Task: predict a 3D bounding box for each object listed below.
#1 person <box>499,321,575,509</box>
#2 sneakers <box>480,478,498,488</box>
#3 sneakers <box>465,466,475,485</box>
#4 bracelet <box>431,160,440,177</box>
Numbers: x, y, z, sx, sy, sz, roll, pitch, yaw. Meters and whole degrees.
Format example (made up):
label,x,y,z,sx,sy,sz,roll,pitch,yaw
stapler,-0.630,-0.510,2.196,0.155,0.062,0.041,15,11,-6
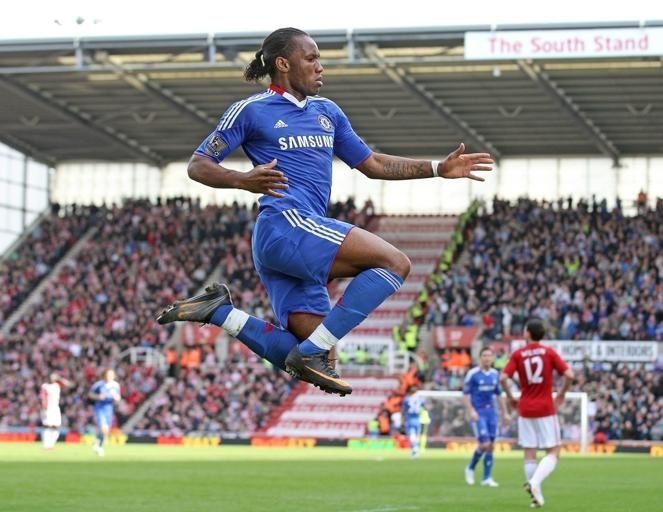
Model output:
label,x,y,z,sx,sy,sz,roll,pitch,yaw
person,4.284,3.278,29.626,1.423,3.892,0.960,1,-6,12
sneakers,3.524,5.101,31.779,0.368,0.154,0.159,-2,0,26
sneakers,3.128,5.012,32.140,0.144,0.423,0.183,-9,-17,-19
bracelet,1.902,-1.637,26.476,0.232,0.263,0.203,-8,0,1
